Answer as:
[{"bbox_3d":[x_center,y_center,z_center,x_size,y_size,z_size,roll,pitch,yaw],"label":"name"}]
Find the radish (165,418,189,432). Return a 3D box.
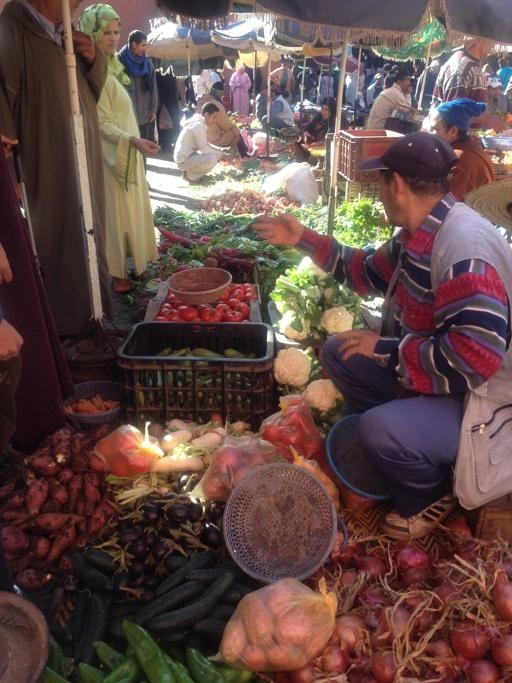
[{"bbox_3d":[-0.413,0.429,2.552,0.089,0.038,0.061,4,24,-20],"label":"radish"}]

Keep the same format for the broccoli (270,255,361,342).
[{"bbox_3d":[0.399,-0.265,3.383,0.614,0.540,0.528,1,22,21],"label":"broccoli"}]

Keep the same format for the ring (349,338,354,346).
[{"bbox_3d":[0.436,-0.002,2.224,0.039,0.033,0.010,-2,-3,7],"label":"ring"}]

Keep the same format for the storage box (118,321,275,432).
[{"bbox_3d":[-0.317,0.085,2.717,0.876,0.456,0.611,0,21,2],"label":"storage box"}]

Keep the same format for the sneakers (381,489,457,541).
[{"bbox_3d":[0.726,0.781,2.212,0.363,0.132,0.139,-19,33,-13],"label":"sneakers"}]

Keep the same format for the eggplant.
[{"bbox_3d":[-0.381,0.794,1.944,0.389,0.127,0.285,-22,43,-36],"label":"eggplant"}]

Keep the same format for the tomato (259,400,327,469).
[{"bbox_3d":[0.177,0.456,2.405,0.414,0.203,0.242,-11,21,-34],"label":"tomato"}]

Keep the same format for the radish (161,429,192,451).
[{"bbox_3d":[-0.392,0.478,2.421,0.120,0.043,0.086,-23,33,-5],"label":"radish"}]

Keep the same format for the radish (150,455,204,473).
[{"bbox_3d":[-0.361,0.572,2.300,0.156,0.049,0.099,-3,7,1],"label":"radish"}]

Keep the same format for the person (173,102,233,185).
[{"bbox_3d":[-1.220,-4.316,10.711,1.030,1.637,1.021,12,29,6],"label":"person"}]

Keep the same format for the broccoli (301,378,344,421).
[{"bbox_3d":[0.388,0.333,2.837,0.188,0.204,0.144,4,0,36],"label":"broccoli"}]

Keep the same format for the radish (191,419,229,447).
[{"bbox_3d":[-0.260,0.446,2.477,0.216,0.099,0.126,-8,24,-40],"label":"radish"}]
